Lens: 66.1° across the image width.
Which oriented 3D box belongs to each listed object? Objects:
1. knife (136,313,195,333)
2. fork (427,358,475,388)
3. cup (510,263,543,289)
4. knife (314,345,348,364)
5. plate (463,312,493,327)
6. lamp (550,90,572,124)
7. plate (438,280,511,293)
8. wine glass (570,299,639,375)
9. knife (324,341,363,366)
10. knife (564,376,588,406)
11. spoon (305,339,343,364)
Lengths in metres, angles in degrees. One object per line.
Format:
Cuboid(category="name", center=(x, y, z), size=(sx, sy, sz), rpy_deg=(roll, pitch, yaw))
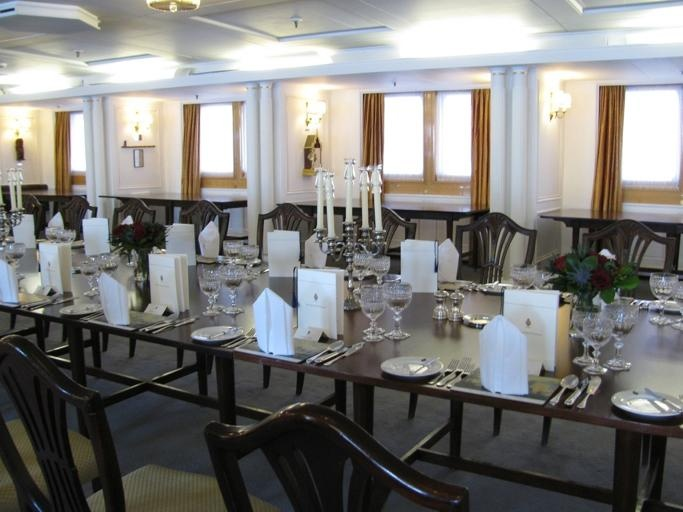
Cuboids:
Cuboid(category="knife", center=(-0.779, 0.282, 2.334), size=(0.070, 0.023, 0.312), rpy_deg=(7, 8, 27))
Cuboid(category="fork", center=(0.379, 0.370, 1.773), size=(0.062, 0.036, 0.241), rpy_deg=(7, 18, 31))
Cuboid(category="cup", center=(0.904, 0.102, 2.569), size=(0.136, 0.105, 0.126), rpy_deg=(-2, 4, 0))
Cuboid(category="knife", center=(-0.050, 0.353, 1.930), size=(0.038, 0.033, 0.234), rpy_deg=(3, 7, 15))
Cuboid(category="plate", center=(0.596, 0.288, 2.335), size=(0.075, 0.017, 0.073), rpy_deg=(9, 16, 34))
Cuboid(category="lamp", center=(2.838, -1.974, 6.819), size=(0.242, 0.413, 0.244), rpy_deg=(3, 15, 29))
Cuboid(category="plate", center=(0.749, 0.173, 2.969), size=(0.263, 0.049, 0.156), rpy_deg=(5, 6, 38))
Cuboid(category="wine glass", center=(0.908, 0.246, 1.853), size=(0.229, 0.271, 0.226), rpy_deg=(2, 12, 23))
Cuboid(category="knife", center=(0.014, 0.356, 1.965), size=(0.047, 0.030, 0.271), rpy_deg=(14, 12, 18))
Cuboid(category="knife", center=(0.725, 0.424, 1.617), size=(0.044, 0.035, 0.306), rpy_deg=(-3, 11, 28))
Cuboid(category="spoon", center=(-0.058, 0.349, 1.983), size=(0.047, 0.028, 0.187), rpy_deg=(4, 12, 23))
